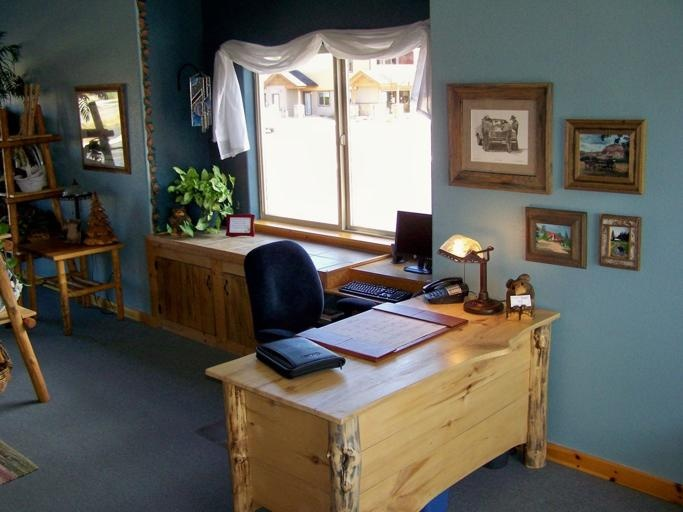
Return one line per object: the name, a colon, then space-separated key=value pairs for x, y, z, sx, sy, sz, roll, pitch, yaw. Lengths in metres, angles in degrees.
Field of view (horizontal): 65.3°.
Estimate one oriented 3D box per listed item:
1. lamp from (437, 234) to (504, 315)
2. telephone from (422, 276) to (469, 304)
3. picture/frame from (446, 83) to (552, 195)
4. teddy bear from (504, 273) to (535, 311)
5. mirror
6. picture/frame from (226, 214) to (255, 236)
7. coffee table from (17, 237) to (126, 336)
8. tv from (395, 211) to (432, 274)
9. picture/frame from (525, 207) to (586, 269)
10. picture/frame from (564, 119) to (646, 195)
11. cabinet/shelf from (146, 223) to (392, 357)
lamp: x=0.806 y=0.115 z=3.247 sx=0.343 sy=0.461 sz=0.220 roll=-8 pitch=13 yaw=-18
telephone: x=0.659 y=0.214 z=3.375 sx=0.179 sy=0.079 sz=0.194 roll=-2 pitch=13 yaw=-11
picture/frame: x=0.974 y=-0.723 z=3.224 sx=0.649 sy=0.636 sz=0.054 roll=7 pitch=13 yaw=33
teddy bear: x=1.043 y=0.212 z=3.163 sx=0.147 sy=0.209 sz=0.113 roll=-6 pitch=16 yaw=2
mirror: x=-2.469 y=-1.346 z=5.564 sx=0.056 sy=0.863 sz=0.837 roll=-19 pitch=28 yaw=-39
picture/frame: x=-0.993 y=-0.294 z=5.218 sx=0.202 sy=0.161 sz=0.029 roll=0 pitch=-6 yaw=4
coffee table: x=-2.827 y=0.060 z=5.836 sx=0.975 sy=1.072 sz=1.253 roll=-8 pitch=14 yaw=-40
tv: x=0.558 y=-0.103 z=4.148 sx=0.444 sy=0.485 sz=0.176 roll=5 pitch=4 yaw=38
picture/frame: x=1.270 y=-0.117 z=3.138 sx=0.328 sy=0.330 sz=0.025 roll=9 pitch=18 yaw=40
picture/frame: x=1.447 y=-0.546 z=2.898 sx=0.389 sy=0.384 sz=0.030 roll=9 pitch=16 yaw=38
cabinet/shelf: x=-0.857 y=0.365 z=5.085 sx=2.473 sy=1.025 sz=0.813 roll=9 pitch=15 yaw=43
